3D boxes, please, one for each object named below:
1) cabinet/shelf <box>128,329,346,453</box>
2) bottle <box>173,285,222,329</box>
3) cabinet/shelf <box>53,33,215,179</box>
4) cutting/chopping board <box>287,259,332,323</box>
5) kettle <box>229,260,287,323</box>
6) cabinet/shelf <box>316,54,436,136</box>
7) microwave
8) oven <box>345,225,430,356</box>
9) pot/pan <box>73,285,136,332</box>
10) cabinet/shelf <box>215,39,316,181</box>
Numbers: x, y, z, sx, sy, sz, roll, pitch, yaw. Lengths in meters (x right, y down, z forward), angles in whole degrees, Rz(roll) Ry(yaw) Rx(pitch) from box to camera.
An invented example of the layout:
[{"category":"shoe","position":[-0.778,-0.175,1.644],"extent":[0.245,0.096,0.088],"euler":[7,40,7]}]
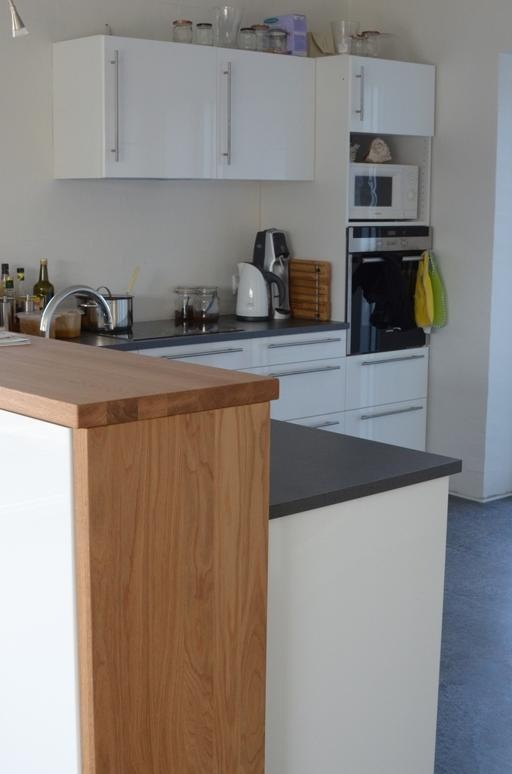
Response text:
[{"category":"cabinet/shelf","position":[0.023,0.140,3.973],"extent":[1.157,0.792,0.846],"euler":[-5,13,4]},{"category":"bottle","position":[-0.342,-0.459,3.771],"extent":[0.245,0.239,0.194],"euler":[0,1,-10]},{"category":"cabinet/shelf","position":[-0.516,-1.422,3.360],"extent":[0.660,0.624,0.389],"euler":[-8,30,-30]},{"category":"cutting/chopping board","position":[0.324,-0.561,3.847],"extent":[0.059,0.412,0.317],"euler":[-7,11,-38]},{"category":"kettle","position":[0.025,-0.549,3.830],"extent":[0.291,0.339,0.219],"euler":[7,13,27]},{"category":"cabinet/shelf","position":[0.729,-1.644,3.803],"extent":[0.565,0.404,0.319],"euler":[-7,17,-21]},{"category":"microwave","position":[0.729,-1.109,3.888],"extent":[0.409,0.330,0.230],"euler":[2,-2,9]},{"category":"oven","position":[0.802,-0.714,4.014],"extent":[0.543,0.783,0.552],"euler":[-6,34,-1]},{"category":"pot/pan","position":[-0.774,-0.400,3.410],"extent":[0.245,0.225,0.356],"euler":[-6,12,-39]},{"category":"cabinet/shelf","position":[0.014,-1.521,3.734],"extent":[0.599,0.651,0.444],"euler":[-8,18,-25]}]
